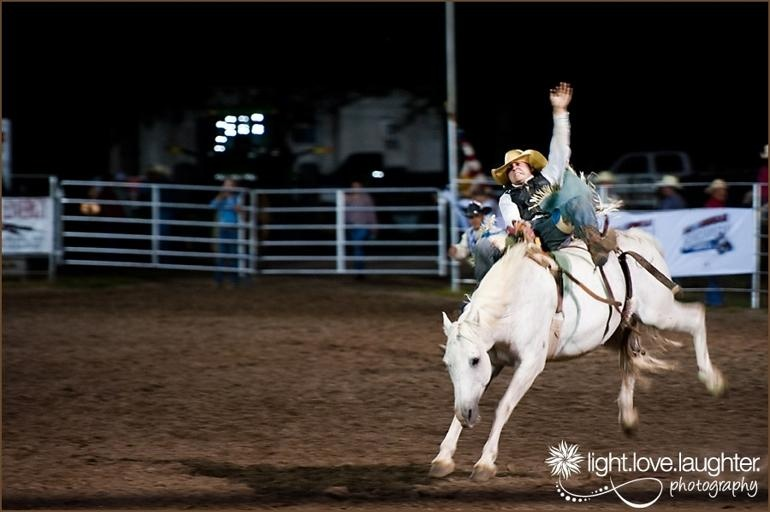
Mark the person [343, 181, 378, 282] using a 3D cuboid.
[{"bbox_3d":[-0.448,-0.460,24.342,0.539,1.539,1.296,-1,1,-2],"label":"person"}]

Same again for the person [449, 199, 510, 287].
[{"bbox_3d":[1.088,-0.024,16.710,0.625,1.156,0.376,0,37,3],"label":"person"}]

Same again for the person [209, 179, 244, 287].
[{"bbox_3d":[-2.692,-0.383,22.998,0.498,1.635,0.971,-1,0,-7],"label":"person"}]

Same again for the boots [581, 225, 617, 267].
[{"bbox_3d":[2.521,-0.115,15.955,0.398,0.460,0.160,-18,7,-23],"label":"boots"}]

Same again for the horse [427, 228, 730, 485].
[{"bbox_3d":[2.296,1.044,16.570,1.211,2.499,5.136,-4,3,44],"label":"horse"}]

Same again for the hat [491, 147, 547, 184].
[{"bbox_3d":[1.640,-1.137,16.166,0.464,0.179,0.498,-32,-29,27],"label":"hat"}]

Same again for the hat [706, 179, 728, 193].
[{"bbox_3d":[5.312,-1.111,21.823,0.420,0.163,0.453,0,-3,10],"label":"hat"}]
